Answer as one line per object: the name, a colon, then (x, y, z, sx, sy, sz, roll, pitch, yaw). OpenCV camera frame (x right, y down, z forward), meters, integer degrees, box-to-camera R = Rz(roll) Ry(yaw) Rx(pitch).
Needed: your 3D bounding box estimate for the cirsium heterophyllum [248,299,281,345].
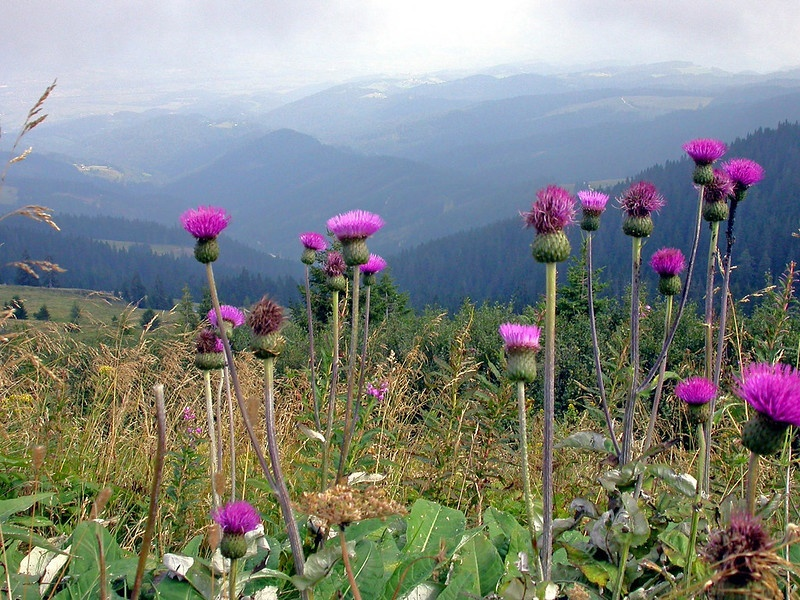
cirsium heterophyllum: (-0.671, 0.111, 3.271, 0.169, 0.203, 0.177, 3, 5, 29)

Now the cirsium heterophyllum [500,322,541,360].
cirsium heterophyllum: (0.622, 0.211, 3.363, 0.172, 0.137, 0.168, 4, -5, -44)

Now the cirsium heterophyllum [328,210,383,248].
cirsium heterophyllum: (-0.274, -0.458, 4.001, 0.330, 0.208, 0.370, -3, 6, -5)

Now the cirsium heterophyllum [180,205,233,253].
cirsium heterophyllum: (-1.076, -0.419, 3.599, 0.262, 0.215, 0.280, 5, 20, -6)

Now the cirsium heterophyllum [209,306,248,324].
cirsium heterophyllum: (-1.041, 0.079, 3.945, 0.166, 0.103, 0.169, -1, -8, 44)

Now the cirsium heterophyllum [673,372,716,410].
cirsium heterophyllum: (1.605, 0.489, 3.551, 0.166, 0.135, 0.176, -2, -2, -8)

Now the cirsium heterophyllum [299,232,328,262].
cirsium heterophyllum: (-0.640, -0.380, 4.760, 0.175, 0.239, 0.347, -3, 6, -9)

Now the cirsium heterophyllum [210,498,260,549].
cirsium heterophyllum: (-0.782, 1.070, 3.091, 0.162, 0.182, 0.167, 4, 0, 39)

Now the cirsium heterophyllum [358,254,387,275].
cirsium heterophyllum: (-0.199, -0.267, 4.719, 0.147, 0.102, 0.153, 0, -2, 34)
